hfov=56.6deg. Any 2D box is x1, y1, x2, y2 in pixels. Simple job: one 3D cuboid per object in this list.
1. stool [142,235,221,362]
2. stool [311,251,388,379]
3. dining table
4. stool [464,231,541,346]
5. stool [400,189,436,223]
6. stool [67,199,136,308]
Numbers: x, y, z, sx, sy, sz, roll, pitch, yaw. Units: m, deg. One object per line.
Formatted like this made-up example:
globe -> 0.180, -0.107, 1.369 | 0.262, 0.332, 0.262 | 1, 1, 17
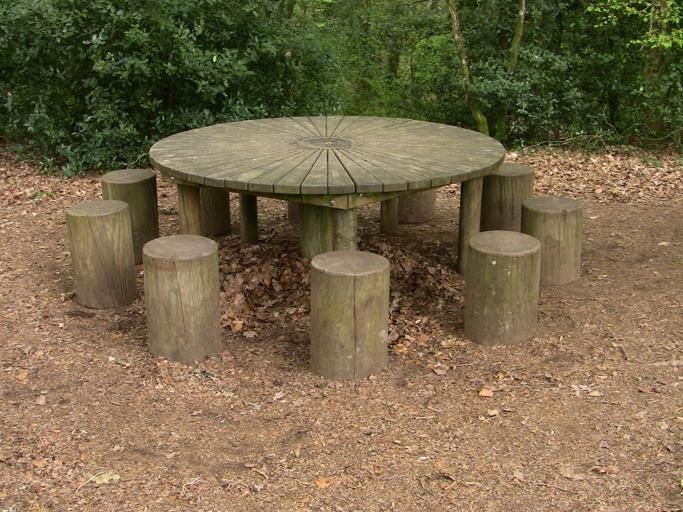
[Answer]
stool -> -1.092, 0.323, 4.360 | 0.543, 0.748, 0.364 | -6, 22, -10
stool -> 0.050, 0.420, 4.161 | 0.530, 0.741, 0.296 | -2, 22, 0
dining table -> 0.007, -0.755, 5.093 | 2.082, 0.685, 2.057 | -22, 34, -39
stool -> 1.132, 0.255, 4.483 | 0.492, 0.691, 0.346 | 2, 22, 10
stool -> 0.840, -0.540, 6.763 | 0.430, 0.265, 0.415 | -14, 19, -36
stool -> -1.920, -0.003, 5.082 | 0.495, 0.781, 0.362 | -9, 23, -17
